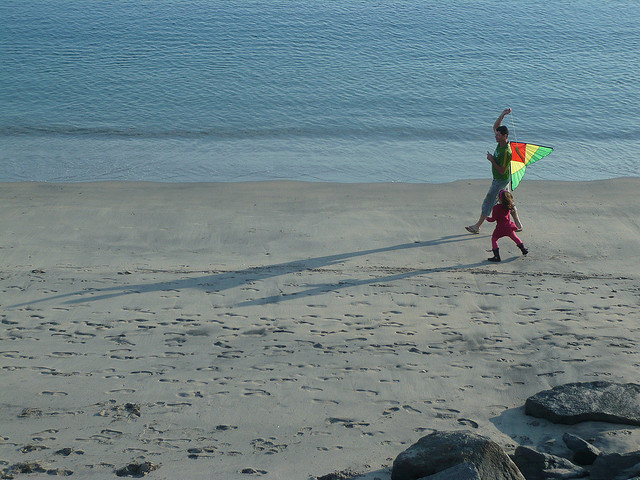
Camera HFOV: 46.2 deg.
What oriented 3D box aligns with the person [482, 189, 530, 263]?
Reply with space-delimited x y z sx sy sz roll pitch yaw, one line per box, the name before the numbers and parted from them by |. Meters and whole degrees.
person | 3.404 -0.275 13.777 1.024 1.283 0.678 -19 29 -39
